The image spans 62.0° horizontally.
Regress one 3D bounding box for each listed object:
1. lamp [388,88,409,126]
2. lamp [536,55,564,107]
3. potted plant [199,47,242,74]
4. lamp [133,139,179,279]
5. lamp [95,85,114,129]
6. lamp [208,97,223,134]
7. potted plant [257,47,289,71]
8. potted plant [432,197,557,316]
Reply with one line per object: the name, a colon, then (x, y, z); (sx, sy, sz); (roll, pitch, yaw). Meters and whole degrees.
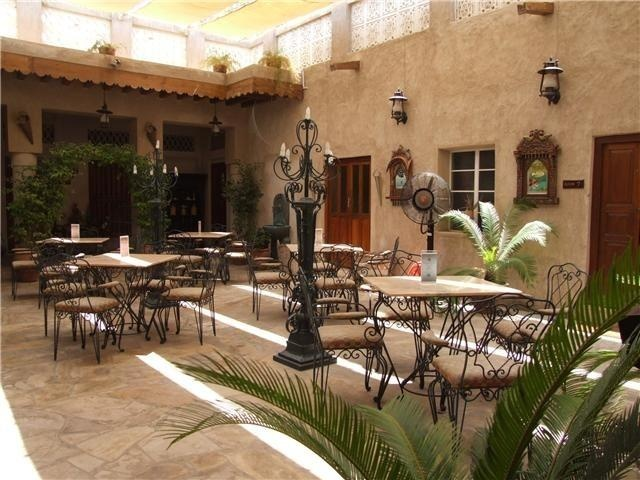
lamp: (1.412, -2.398, 9.601); (0.434, 0.624, 0.440); (6, 10, 39)
lamp: (3.254, -2.233, 7.516); (0.365, 0.632, 0.333); (-9, 12, -39)
potted plant: (-2.332, -4.118, 12.423); (0.846, 0.607, 0.873); (0, 7, -6)
lamp: (-3.364, -0.716, 11.062); (0.668, 2.070, 0.686); (5, 10, 6)
lamp: (-4.670, -2.850, 11.539); (0.327, 0.846, 1.290); (-1, 2, -21)
lamp: (-2.521, -2.932, 12.918); (0.320, 0.850, 1.301); (0, 2, -11)
potted plant: (-0.973, -3.877, 11.549); (0.494, 0.372, 0.515); (-1, 4, -38)
potted plant: (2.480, 0.085, 7.774); (1.649, 1.007, 1.393); (9, -8, -4)
